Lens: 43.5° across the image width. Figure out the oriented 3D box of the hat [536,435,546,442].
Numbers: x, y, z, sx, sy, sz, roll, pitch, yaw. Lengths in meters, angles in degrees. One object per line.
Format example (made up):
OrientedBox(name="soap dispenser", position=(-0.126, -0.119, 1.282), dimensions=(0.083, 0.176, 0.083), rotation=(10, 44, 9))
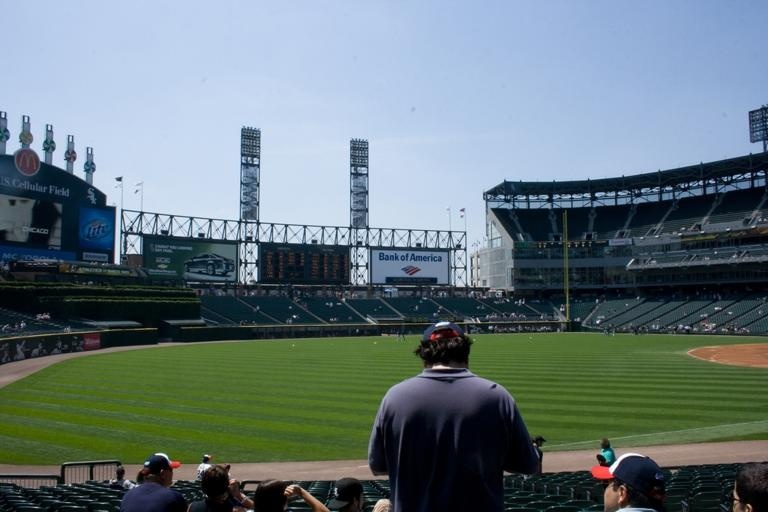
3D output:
OrientedBox(name="hat", position=(8.368, 9.764, 51.387), dimensions=(0.511, 0.138, 0.550), rotation=(4, -5, 5))
